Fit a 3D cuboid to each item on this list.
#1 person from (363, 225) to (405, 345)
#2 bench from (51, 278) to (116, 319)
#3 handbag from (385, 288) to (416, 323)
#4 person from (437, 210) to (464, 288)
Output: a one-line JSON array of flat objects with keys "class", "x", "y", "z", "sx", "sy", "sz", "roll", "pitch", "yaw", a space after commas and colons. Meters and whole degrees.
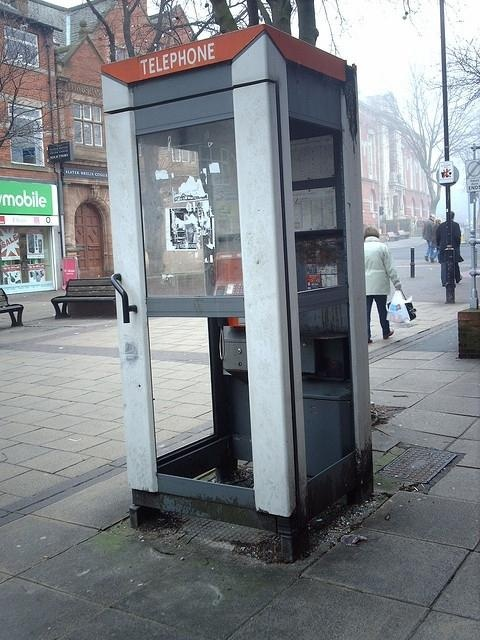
[{"class": "person", "x": 2.238, "y": -0.571, "z": 9.242, "sx": 0.522, "sy": 1.837, "sz": 0.819, "roll": -1, "pitch": 4, "yaw": 12}, {"class": "bench", "x": -4.069, "y": -0.565, "z": 15.455, "sx": 1.197, "sy": 0.734, "sz": 0.518, "roll": 0, "pitch": 15, "yaw": 20}, {"class": "handbag", "x": 2.516, "y": -0.221, "z": 9.283, "sx": 0.382, "sy": 0.566, "sz": 0.836, "roll": -1, "pitch": 5, "yaw": 13}, {"class": "person", "x": 5.657, "y": -2.035, "z": 15.961, "sx": 0.867, "sy": 1.950, "sz": 0.881, "roll": -23, "pitch": 26, "yaw": -29}]
